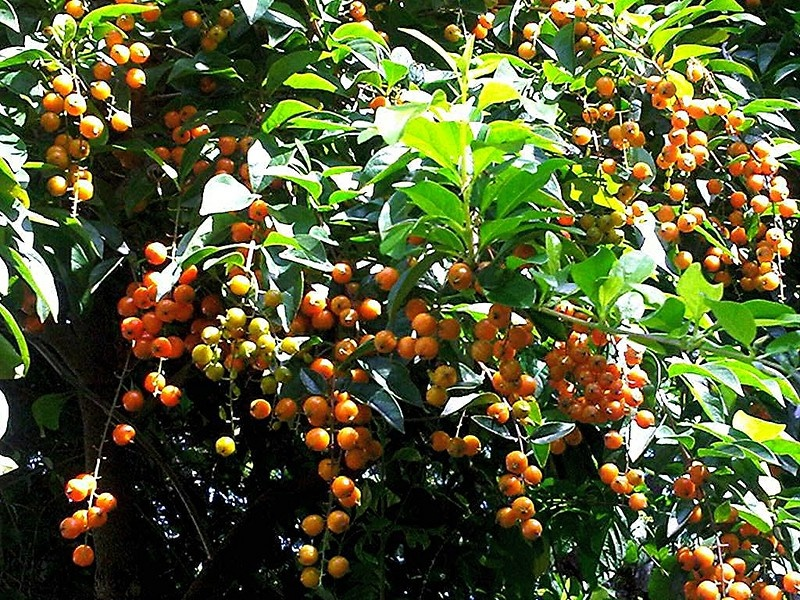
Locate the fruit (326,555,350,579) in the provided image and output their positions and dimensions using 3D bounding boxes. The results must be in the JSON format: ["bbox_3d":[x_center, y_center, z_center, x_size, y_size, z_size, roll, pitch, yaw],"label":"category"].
[{"bbox_3d":[-0.128,0.559,1.655,0.047,0.046,0.061,6,-6,-30],"label":"fruit"}]

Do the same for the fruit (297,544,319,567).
[{"bbox_3d":[-0.196,0.544,1.654,0.037,0.046,0.085,8,-31,-3],"label":"fruit"}]

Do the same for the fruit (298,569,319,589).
[{"bbox_3d":[-0.187,0.578,1.627,0.039,0.040,0.058,8,-32,-4],"label":"fruit"}]
